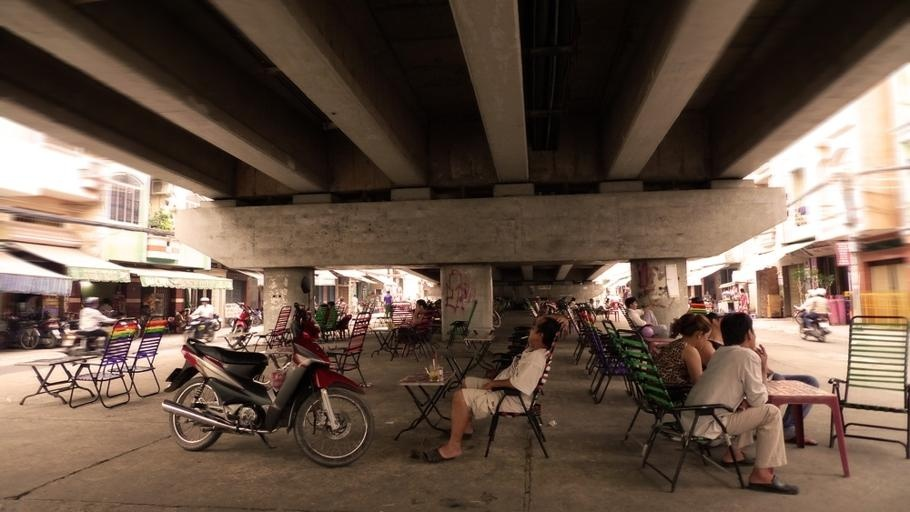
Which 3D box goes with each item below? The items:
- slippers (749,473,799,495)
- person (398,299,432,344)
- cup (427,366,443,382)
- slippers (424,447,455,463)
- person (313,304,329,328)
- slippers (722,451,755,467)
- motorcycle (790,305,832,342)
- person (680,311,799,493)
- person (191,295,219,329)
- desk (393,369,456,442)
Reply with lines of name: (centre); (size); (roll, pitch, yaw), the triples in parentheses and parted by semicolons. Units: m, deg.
slippers: (5.007, 3.610, 8.368); (0.694, 0.216, 0.275); (-3, -12, 13)
person: (-1.372, 2.250, 17.884); (1.196, 0.929, 1.728); (2, 32, 5)
cup: (-0.360, 2.139, 9.645); (0.339, 0.277, 0.225); (0, -9, 10)
slippers: (-0.287, 3.447, 9.146); (0.457, 0.102, 0.217); (2, -2, -9)
person: (-5.075, 2.269, 20.248); (0.541, 0.793, 0.208); (7, -4, 11)
slippers: (4.749, 3.424, 8.858); (0.625, 0.168, 0.250); (1, -4, -12)
motorcycle: (13.037, 2.578, 19.829); (1.002, 1.177, 1.901); (8, 4, 8)
person: (4.647, 2.285, 8.543); (1.577, 2.642, 1.131); (5, 16, 22)
person: (-10.244, 2.318, 21.551); (1.109, 1.027, 1.736); (0, -11, -2)
desk: (-0.538, 3.009, 10.721); (1.238, 0.886, 1.977); (0, -4, 8)
